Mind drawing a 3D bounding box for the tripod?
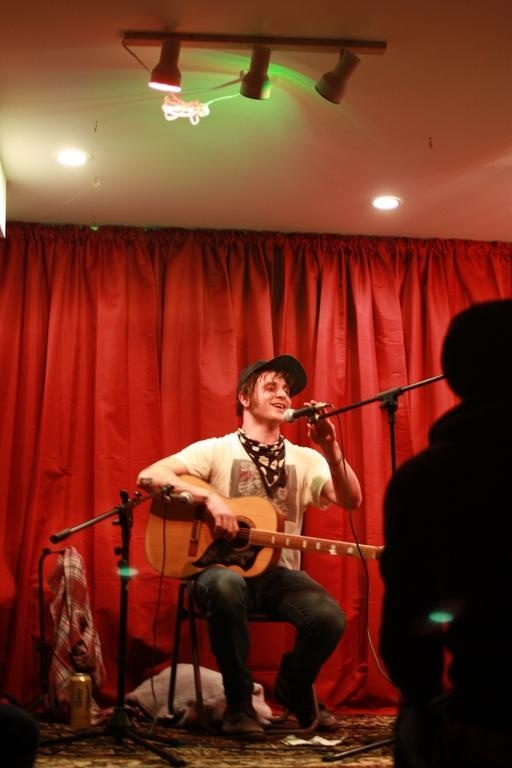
[{"bbox_3d":[-0.566,0.877,2.582,0.400,0.965,1.212,-2,-4,-14],"label":"tripod"}]

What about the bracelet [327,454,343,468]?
[{"bbox_3d":[0.329,0.319,2.778,0.060,0.043,0.060,4,-7,-24],"label":"bracelet"}]

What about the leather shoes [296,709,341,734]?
[{"bbox_3d":[0.248,1.296,2.615,0.201,0.086,0.073,2,-10,-24],"label":"leather shoes"}]

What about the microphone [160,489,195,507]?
[{"bbox_3d":[-0.317,0.448,2.629,0.106,0.029,0.062,7,41,10],"label":"microphone"}]

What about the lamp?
[{"bbox_3d":[-0.006,-1.081,2.328,0.898,0.217,0.191,-2,-4,-4],"label":"lamp"}]

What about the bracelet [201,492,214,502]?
[{"bbox_3d":[-0.192,0.452,2.658,0.034,0.011,0.047,5,25,-14],"label":"bracelet"}]

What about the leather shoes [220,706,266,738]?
[{"bbox_3d":[-0.049,1.180,2.341,0.143,0.071,0.123,-2,-4,-2],"label":"leather shoes"}]

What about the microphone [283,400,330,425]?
[{"bbox_3d":[0.204,0.117,2.689,0.217,0.064,0.065,-19,13,25],"label":"microphone"}]
